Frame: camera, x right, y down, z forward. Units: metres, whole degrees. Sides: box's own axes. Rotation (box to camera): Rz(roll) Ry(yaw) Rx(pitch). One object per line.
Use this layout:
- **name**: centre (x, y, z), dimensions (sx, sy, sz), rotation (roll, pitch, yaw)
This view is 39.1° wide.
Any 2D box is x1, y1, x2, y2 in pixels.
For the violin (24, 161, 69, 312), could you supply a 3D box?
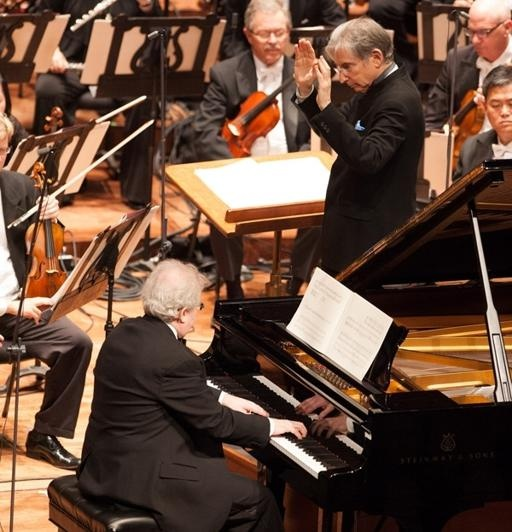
- **violin**: centre (-0.968, -0.052, 3.308), dimensions (0.247, 0.815, 0.220), rotation (-11, 34, -27)

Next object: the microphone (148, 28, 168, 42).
- **microphone**: centre (-0.650, -1.478, 4.619), dimensions (0.129, 0.080, 0.037), rotation (-5, 1, 20)

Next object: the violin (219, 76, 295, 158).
- **violin**: centre (0.001, -1.021, 4.920), dimensions (0.450, 0.565, 0.313), rotation (6, 13, -6)
